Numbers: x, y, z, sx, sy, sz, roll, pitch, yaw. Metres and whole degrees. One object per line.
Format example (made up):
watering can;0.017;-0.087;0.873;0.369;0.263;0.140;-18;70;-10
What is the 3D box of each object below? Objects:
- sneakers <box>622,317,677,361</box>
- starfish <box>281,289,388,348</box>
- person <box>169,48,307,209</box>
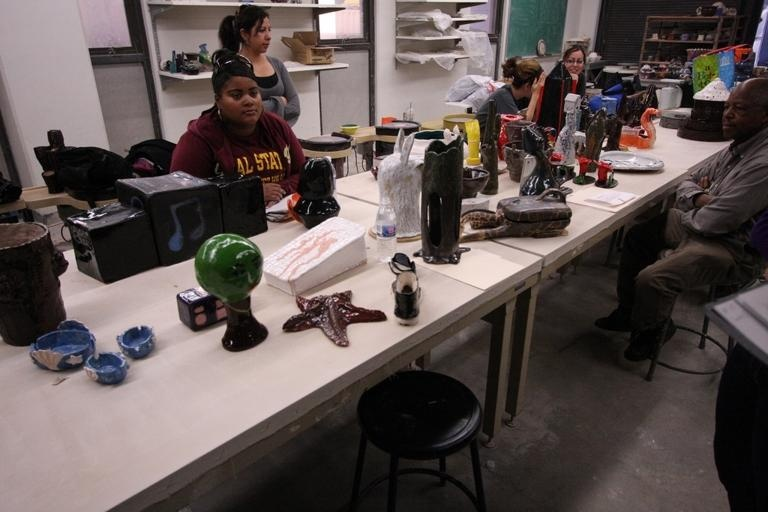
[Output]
sneakers;1.611;0.513;3.206;0.303;0.216;0.108;-24;43;-20
starfish;-0.235;0.233;2.136;0.391;0.061;0.442;-15;29;-29
person;-0.883;-0.748;3.059;0.752;0.800;0.708;-5;27;-6
